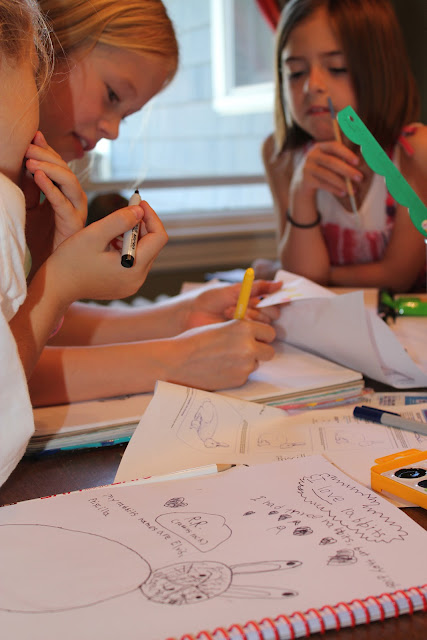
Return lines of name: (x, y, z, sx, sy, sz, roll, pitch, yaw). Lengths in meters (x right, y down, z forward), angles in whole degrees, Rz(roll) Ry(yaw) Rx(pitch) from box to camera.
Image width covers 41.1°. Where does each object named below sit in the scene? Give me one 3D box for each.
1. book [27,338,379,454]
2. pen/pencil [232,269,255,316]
book: (-0.014, 0.030, 0.705, 0.349, 0.054, 0.426, -4, 16, -29)
pen/pencil: (0.034, -0.024, 0.657, 0.016, 0.087, 0.013, -3, 51, -11)
